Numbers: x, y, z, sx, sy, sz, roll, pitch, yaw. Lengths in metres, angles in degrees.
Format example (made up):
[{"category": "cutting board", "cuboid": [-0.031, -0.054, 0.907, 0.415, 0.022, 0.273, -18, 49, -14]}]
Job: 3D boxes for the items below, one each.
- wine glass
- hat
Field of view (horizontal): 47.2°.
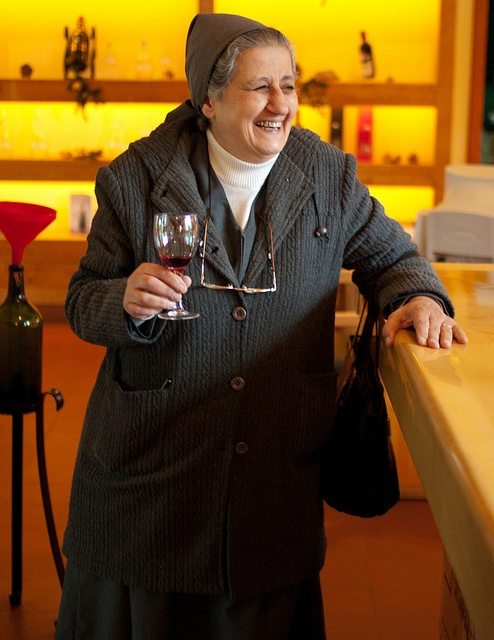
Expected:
[{"category": "wine glass", "cuboid": [-0.119, -0.083, 0.954, 0.069, 0.191, 0.148, 0, 9, -6]}, {"category": "hat", "cuboid": [-0.043, -0.499, 1.131, 0.205, 0.201, 0.159, 8, 13, 28]}]
